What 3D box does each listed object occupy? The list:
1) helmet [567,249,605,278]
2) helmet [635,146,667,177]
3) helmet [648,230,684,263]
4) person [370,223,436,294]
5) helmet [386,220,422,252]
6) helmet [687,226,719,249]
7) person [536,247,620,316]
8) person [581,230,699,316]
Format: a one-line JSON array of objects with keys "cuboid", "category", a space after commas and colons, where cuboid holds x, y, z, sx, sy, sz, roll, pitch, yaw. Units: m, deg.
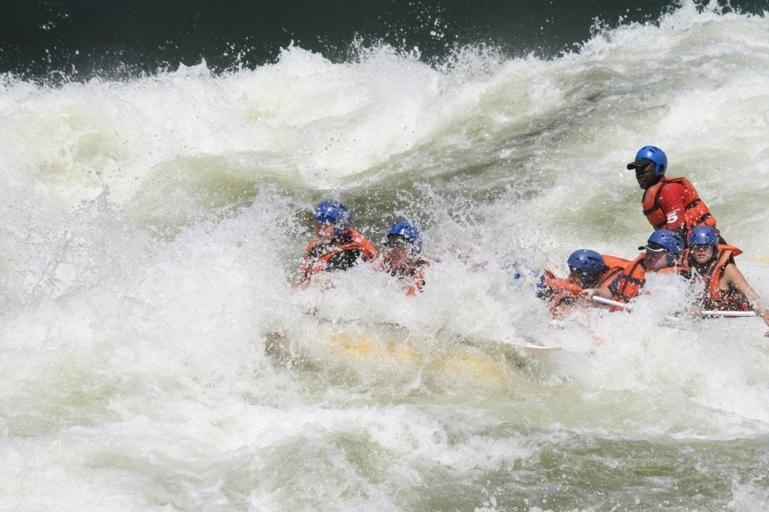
[{"cuboid": [3.433, 0.116, 20.691, 0.558, 0.385, 0.422, -16, 39, -21], "category": "helmet"}, {"cuboid": [4.818, -1.748, 21.746, 0.514, 0.462, 0.564, -23, 97, -12], "category": "helmet"}, {"cuboid": [4.748, -0.171, 20.359, 0.683, 0.469, 0.470, 7, 84, -16], "category": "helmet"}, {"cuboid": [0.279, 0.044, 20.537, 0.878, 0.634, 1.175, -4, 81, 17], "category": "person"}, {"cuboid": [0.351, -0.359, 20.751, 0.486, 0.601, 0.516, 21, 96, -7], "category": "helmet"}, {"cuboid": [5.431, -0.356, 20.605, 0.349, 0.423, 0.355, 2, 29, 24], "category": "helmet"}, {"cuboid": [3.325, 0.494, 20.694, 1.061, 0.619, 1.267, 17, 77, 33], "category": "person"}, {"cuboid": [4.230, 0.239, 20.301, 1.809, 0.722, 1.165, -31, 43, -11], "category": "person"}]
